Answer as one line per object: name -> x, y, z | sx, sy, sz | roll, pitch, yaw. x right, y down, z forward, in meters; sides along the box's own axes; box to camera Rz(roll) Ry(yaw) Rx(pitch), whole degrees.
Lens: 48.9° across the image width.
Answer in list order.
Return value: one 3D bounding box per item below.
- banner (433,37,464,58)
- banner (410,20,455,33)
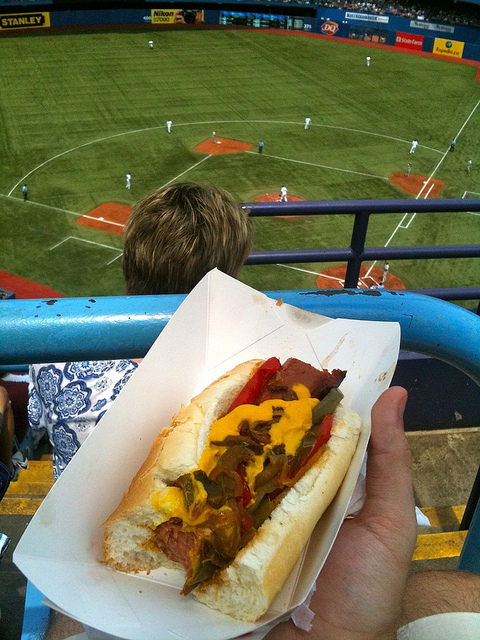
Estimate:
banner -> 11.991, -15.607, 30.231 | 1.854, 0.912, 0.432 | 28, 37, 36
banner -> 11.299, -17.193, 30.927 | 2.537, 0.491, 0.545 | 24, 34, 31
